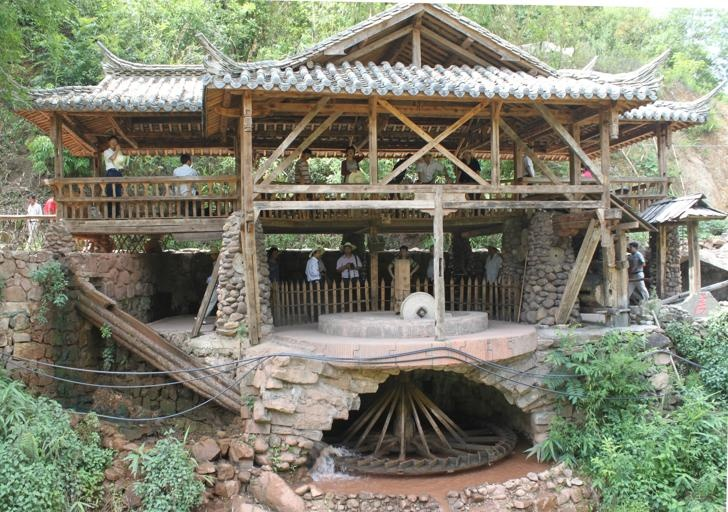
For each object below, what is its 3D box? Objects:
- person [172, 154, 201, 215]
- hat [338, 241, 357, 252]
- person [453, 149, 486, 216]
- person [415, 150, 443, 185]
[{"bbox_3d":[-5.167,-1.986,20.971,0.686,1.231,1.969,-9,41,-13],"label":"person"},{"bbox_3d":[-0.485,-0.348,22.404,0.392,0.114,0.396,-9,-14,42],"label":"hat"},{"bbox_3d":[3.309,-2.376,22.790,0.777,0.754,2.197,-9,67,12],"label":"person"},{"bbox_3d":[1.922,-2.410,21.013,0.760,0.996,1.023,2,40,-1],"label":"person"}]
